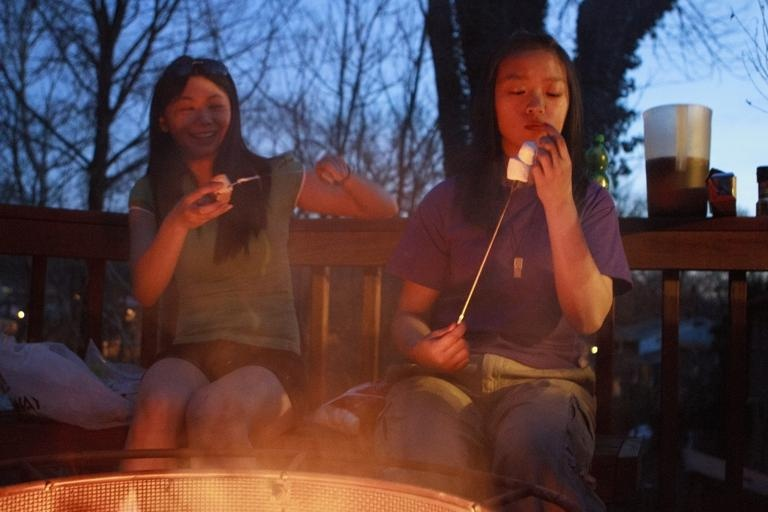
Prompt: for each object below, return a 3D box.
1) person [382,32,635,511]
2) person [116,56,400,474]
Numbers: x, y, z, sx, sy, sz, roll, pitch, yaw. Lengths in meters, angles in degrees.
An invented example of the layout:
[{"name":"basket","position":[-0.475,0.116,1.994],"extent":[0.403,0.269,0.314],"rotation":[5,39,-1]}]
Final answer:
[{"name":"person","position":[0.572,0.004,3.882],"extent":[1.146,2.325,0.834],"rotation":[0,0,18]},{"name":"person","position":[-0.740,-0.068,4.295],"extent":[1.212,2.118,0.788],"rotation":[0,0,-16]}]
